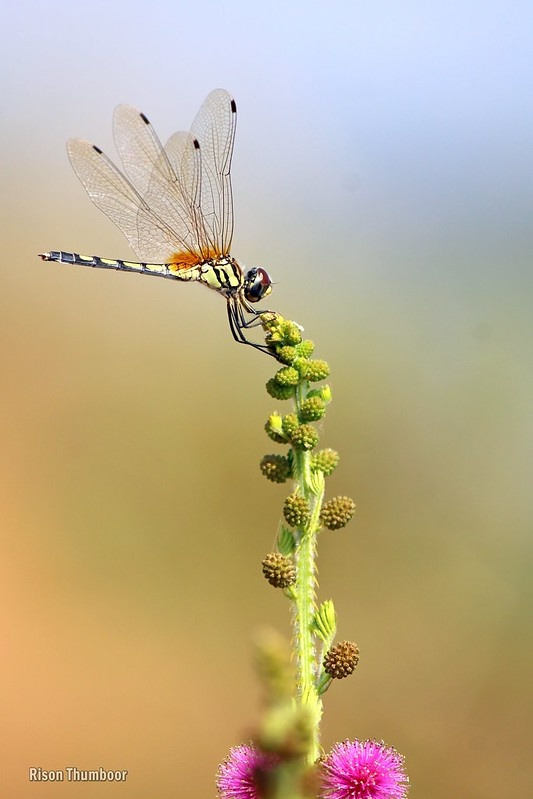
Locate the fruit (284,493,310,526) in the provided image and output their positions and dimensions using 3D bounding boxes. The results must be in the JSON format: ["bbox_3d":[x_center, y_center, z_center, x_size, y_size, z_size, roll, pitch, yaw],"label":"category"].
[{"bbox_3d":[0.102,0.384,3.173,0.087,0.108,0.115,-1,-59,1],"label":"fruit"}]
